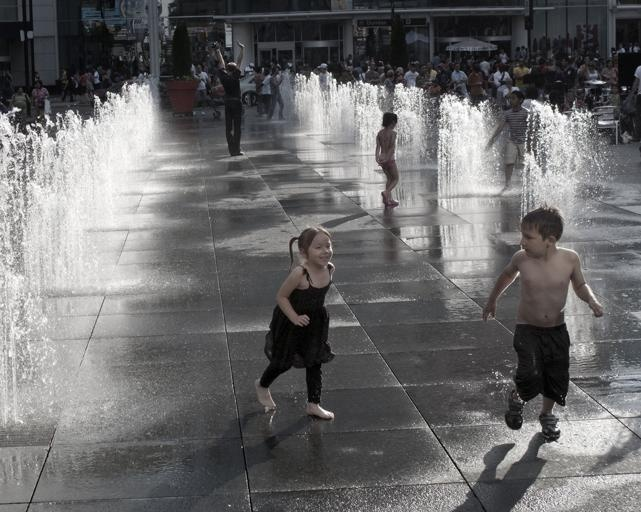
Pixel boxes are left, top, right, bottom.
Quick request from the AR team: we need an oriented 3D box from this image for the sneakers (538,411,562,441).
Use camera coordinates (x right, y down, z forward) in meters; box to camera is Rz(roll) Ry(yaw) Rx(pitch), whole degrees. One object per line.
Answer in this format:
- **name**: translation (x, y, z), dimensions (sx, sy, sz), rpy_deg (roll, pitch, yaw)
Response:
- **sneakers**: translation (1.416, 1.046, 5.442), dimensions (0.081, 0.091, 0.201), rpy_deg (-1, 7, -2)

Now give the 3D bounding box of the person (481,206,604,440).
- **person**: translation (1.348, 0.407, 5.398), dimensions (0.625, 1.405, 0.345), rpy_deg (1, 13, 12)

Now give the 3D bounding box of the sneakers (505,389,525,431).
- **sneakers**: translation (1.187, 0.936, 5.460), dimensions (0.092, 0.270, 0.115), rpy_deg (-2, -4, -23)

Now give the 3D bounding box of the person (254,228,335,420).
- **person**: translation (-0.172, 0.433, 5.727), dimensions (0.506, 1.257, 0.386), rpy_deg (-2, 13, -1)

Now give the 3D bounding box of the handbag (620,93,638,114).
- **handbag**: translation (7.249, -3.541, 20.599), dimensions (0.372, 0.609, 1.475), rpy_deg (3, 14, 18)
